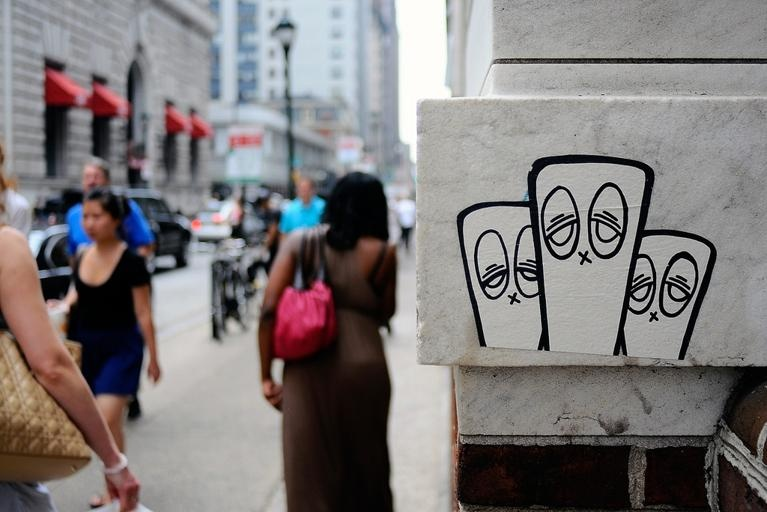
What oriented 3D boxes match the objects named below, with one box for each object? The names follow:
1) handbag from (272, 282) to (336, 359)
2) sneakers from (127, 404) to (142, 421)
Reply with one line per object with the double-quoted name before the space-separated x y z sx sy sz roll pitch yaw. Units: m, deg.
"handbag" -0.385 0.327 5.329 0.248 0.206 0.376 -5 56 8
"sneakers" -1.973 1.230 8.411 0.104 0.120 0.110 1 3 -7
